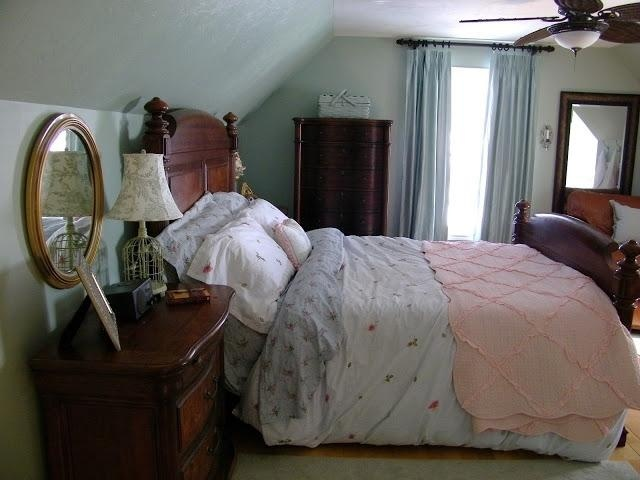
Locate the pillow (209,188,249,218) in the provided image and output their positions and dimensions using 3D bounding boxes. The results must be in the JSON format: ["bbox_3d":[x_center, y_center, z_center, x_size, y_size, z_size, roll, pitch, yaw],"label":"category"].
[{"bbox_3d":[-0.596,-0.246,3.331,0.181,0.067,0.211,16,26,-3],"label":"pillow"}]

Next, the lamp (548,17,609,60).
[{"bbox_3d":[1.533,-1.200,3.021,0.278,0.159,0.293,6,7,14],"label":"lamp"}]

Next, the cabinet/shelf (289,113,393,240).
[{"bbox_3d":[0.207,-0.607,4.865,1.028,1.777,0.642,0,9,-1],"label":"cabinet/shelf"}]

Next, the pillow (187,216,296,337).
[{"bbox_3d":[-0.393,-0.003,2.939,0.537,0.256,0.965,22,34,-10],"label":"pillow"}]
